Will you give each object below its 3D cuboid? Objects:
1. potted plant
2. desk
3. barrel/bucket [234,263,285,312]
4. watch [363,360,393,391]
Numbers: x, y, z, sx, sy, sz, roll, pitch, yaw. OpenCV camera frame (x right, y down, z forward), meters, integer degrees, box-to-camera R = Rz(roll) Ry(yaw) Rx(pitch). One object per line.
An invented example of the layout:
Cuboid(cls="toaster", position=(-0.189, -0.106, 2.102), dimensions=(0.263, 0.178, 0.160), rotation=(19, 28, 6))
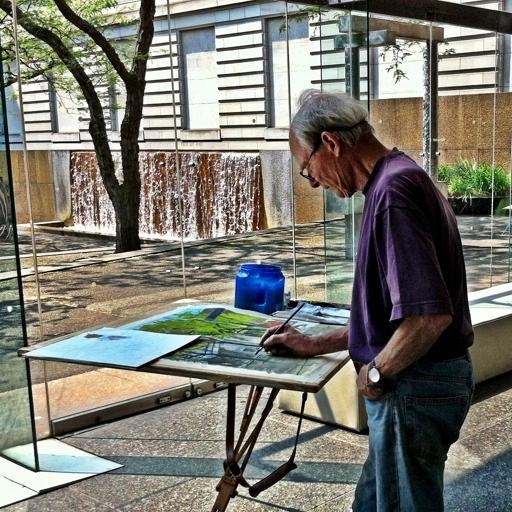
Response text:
Cuboid(cls="potted plant", position=(1.980, -0.626, 4.896), dimensions=(0.719, 0.473, 0.332), rotation=(-3, 10, -34))
Cuboid(cls="desk", position=(-0.367, 0.694, 2.462), dimensions=(1.560, 0.800, 0.985), rotation=(1, 7, 30))
Cuboid(cls="barrel/bucket", position=(0.016, 0.128, 2.271), dimensions=(0.202, 0.194, 0.193), rotation=(3, -3, 0))
Cuboid(cls="watch", position=(0.274, 0.273, 1.233), dimensions=(0.058, 0.076, 0.046), rotation=(0, 7, 16))
